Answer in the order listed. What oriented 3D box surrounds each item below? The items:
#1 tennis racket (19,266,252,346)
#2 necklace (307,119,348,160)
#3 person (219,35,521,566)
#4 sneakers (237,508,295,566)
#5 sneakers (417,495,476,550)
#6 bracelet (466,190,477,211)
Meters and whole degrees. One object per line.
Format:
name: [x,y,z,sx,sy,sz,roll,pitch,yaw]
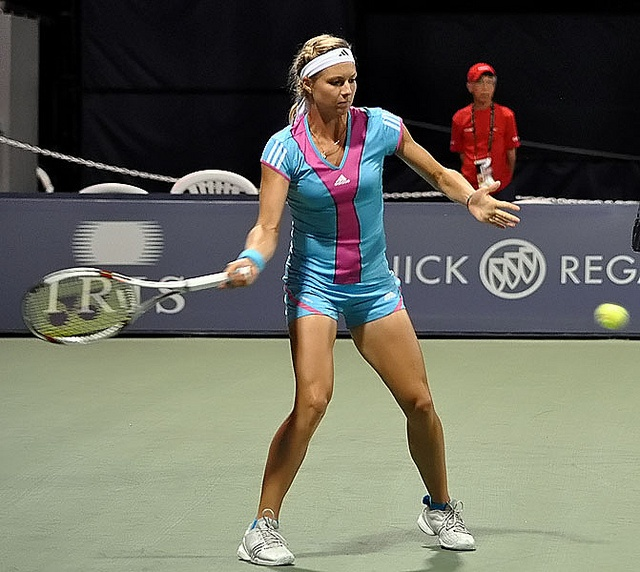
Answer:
tennis racket: [-0.743,0.068,2.258,0.418,0.267,0.885,-4,6,-44]
necklace: [0.023,-0.499,2.299,0.148,0.165,0.085,0,5,-1]
person: [0.111,0.048,2.400,0.981,1.898,0.384,-2,5,-20]
sneakers: [-0.194,0.884,2.355,0.113,0.158,0.248,6,-10,-32]
sneakers: [0.484,0.903,2.582,0.104,0.131,0.260,1,4,-29]
bracelet: [0.564,-0.321,2.512,0.046,0.058,0.016,-7,25,-24]
